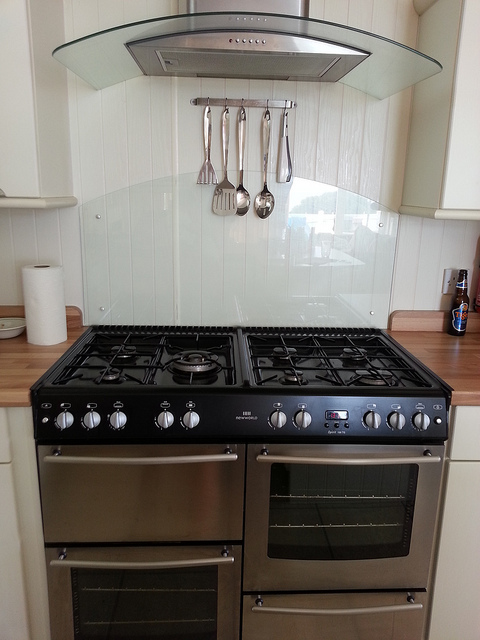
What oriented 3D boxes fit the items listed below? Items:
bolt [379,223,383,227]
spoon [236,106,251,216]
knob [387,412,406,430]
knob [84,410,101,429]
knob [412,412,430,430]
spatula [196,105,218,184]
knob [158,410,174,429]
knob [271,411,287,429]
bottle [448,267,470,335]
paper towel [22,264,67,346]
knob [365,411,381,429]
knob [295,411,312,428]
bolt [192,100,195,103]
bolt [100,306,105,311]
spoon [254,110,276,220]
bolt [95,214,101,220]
[{"bbox_3d":[0.507,-0.340,1.702,0.012,0.013,0.001,0,14,-1],"label":"bolt"},{"bbox_3d":[0.012,-0.534,1.612,0.050,0.346,0.031,0,14,2],"label":"spoon"},{"bbox_3d":[0.390,0.248,1.169,0.047,0.038,0.021,-1,15,-4],"label":"knob"},{"bbox_3d":[-0.350,0.234,1.119,0.029,0.040,0.009,0,-8,-17],"label":"knob"},{"bbox_3d":[0.450,0.247,1.172,0.035,0.042,0.009,-4,-2,-10],"label":"knob"},{"bbox_3d":[-0.111,-0.583,1.592,0.069,0.246,0.020,-1,14,-4],"label":"spatula"},{"bbox_3d":[-0.177,0.239,1.132,0.038,0.040,0.018,-3,15,-10],"label":"knob"},{"bbox_3d":[0.092,0.240,1.144,0.033,0.040,0.010,0,-4,-6],"label":"knob"},{"bbox_3d":[0.824,-0.070,1.756,0.054,0.237,0.130,11,18,37],"label":"bottle"},{"bbox_3d":[-0.609,-0.048,1.486,0.108,0.276,0.112,0,17,-15],"label":"paper towel"},{"bbox_3d":[0.325,0.241,1.157,0.034,0.039,0.010,-5,1,-20],"label":"knob"},{"bbox_3d":[0.154,0.239,1.145,0.030,0.036,0.009,4,-6,-7],"label":"knob"},{"bbox_3d":[-0.152,-0.715,1.556,0.007,0.002,0.008,9,40,7],"label":"bolt"},{"bbox_3d":[-0.502,-0.042,1.725,0.010,0.014,0.009,-2,1,-6],"label":"bolt"},{"bbox_3d":[0.087,-0.524,1.623,0.073,0.351,0.029,2,14,9],"label":"spoon"},{"bbox_3d":[-0.493,-0.356,1.643,0.019,0.017,0.002,1,14,3],"label":"bolt"}]
